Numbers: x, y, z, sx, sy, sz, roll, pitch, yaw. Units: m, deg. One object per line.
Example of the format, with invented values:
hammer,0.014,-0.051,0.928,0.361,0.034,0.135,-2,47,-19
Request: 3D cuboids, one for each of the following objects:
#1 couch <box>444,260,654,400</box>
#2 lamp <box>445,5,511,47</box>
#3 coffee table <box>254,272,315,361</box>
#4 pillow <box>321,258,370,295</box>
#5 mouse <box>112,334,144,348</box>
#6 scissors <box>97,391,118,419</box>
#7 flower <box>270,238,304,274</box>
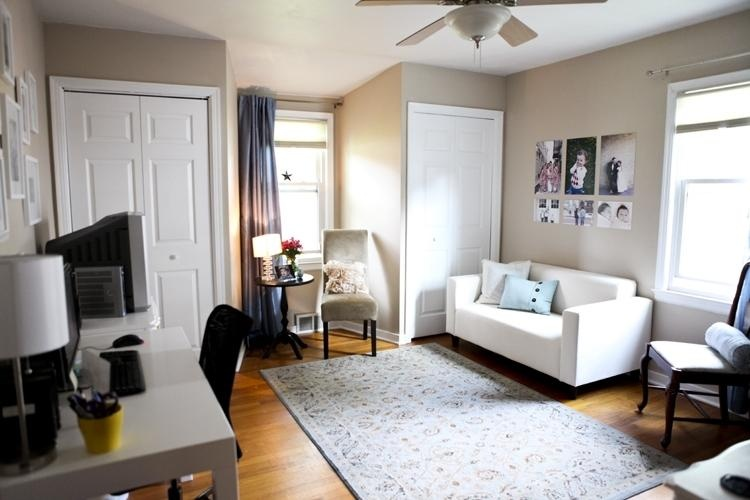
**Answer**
couch,1.625,0.667,5.190,1.177,0.883,1.662,-2,9,-34
lamp,0.669,-1.482,3.346,0.417,0.199,0.181,0,9,8
coffee table,-1.000,0.719,5.610,0.663,0.812,0.652,-1,-15,-16
pillow,-0.320,0.306,5.574,0.387,0.387,0.128,0,-21,-6
mouse,-1.525,0.568,3.145,0.128,0.038,0.085,4,2,-30
scissors,-1.254,0.745,2.428,0.079,0.109,0.111,2,-7,-26
flower,-0.912,0.054,5.659,0.260,0.334,0.239,1,9,15
